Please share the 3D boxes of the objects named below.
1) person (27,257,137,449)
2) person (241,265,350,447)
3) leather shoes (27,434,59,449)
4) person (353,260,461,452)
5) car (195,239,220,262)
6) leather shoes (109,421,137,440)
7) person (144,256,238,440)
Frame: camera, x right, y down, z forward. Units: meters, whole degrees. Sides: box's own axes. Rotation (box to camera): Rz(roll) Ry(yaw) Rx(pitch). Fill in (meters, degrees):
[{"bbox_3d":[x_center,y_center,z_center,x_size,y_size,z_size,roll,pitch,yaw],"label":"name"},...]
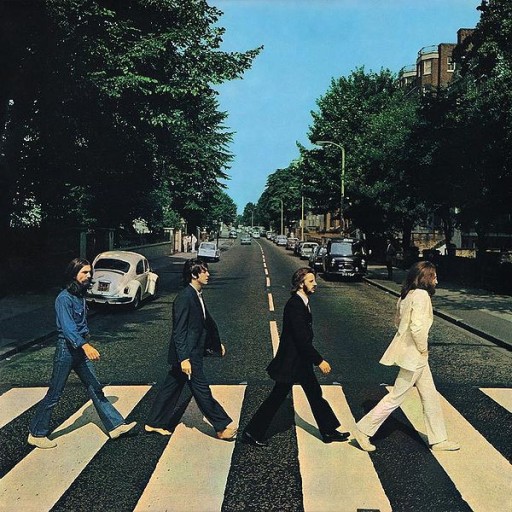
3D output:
[{"bbox_3d":[-1.753,0.923,5.682,0.914,1.801,0.465,2,3,1],"label":"person"},{"bbox_3d":[0.409,0.962,5.572,0.990,1.701,0.462,2,3,1],"label":"person"},{"bbox_3d":[-2.078,1.765,5.570,0.256,0.117,0.249,0,4,-30],"label":"leather shoes"},{"bbox_3d":[1.499,0.937,5.612,0.971,1.793,0.674,2,4,12],"label":"person"},{"bbox_3d":[-3.254,-0.304,39.307,1.079,1.002,2.644,4,12,-1],"label":"car"},{"bbox_3d":[-1.347,1.727,5.736,0.219,0.105,0.067,-32,27,-27],"label":"leather shoes"},{"bbox_3d":[-0.644,0.913,5.733,0.901,1.785,0.532,3,4,26],"label":"person"}]
